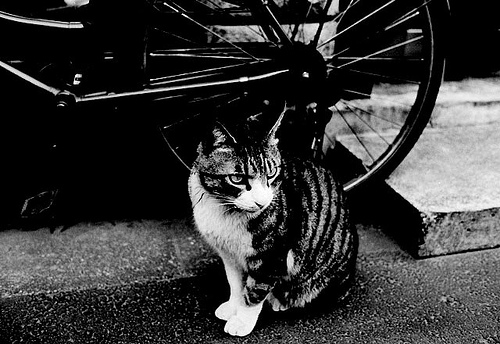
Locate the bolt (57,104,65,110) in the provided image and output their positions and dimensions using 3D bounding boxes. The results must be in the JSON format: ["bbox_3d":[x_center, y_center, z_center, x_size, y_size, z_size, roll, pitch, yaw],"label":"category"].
[{"bbox_3d":[-1.128,-0.392,2.906,0.044,0.036,0.005,-3,25,4],"label":"bolt"}]

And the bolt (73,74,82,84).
[{"bbox_3d":[-1.041,-0.565,2.933,0.032,0.059,0.015,2,-8,-7],"label":"bolt"}]
